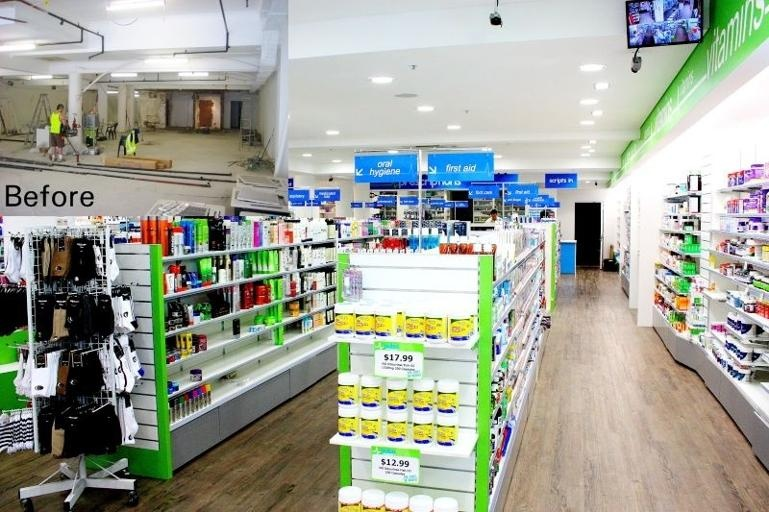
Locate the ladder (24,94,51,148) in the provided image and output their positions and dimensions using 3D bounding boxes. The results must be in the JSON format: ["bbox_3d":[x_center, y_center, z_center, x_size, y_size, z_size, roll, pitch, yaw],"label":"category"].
[{"bbox_3d":[-4.310,-1.677,6.248,0.290,0.661,0.089,-1,8,-2],"label":"ladder"}]
